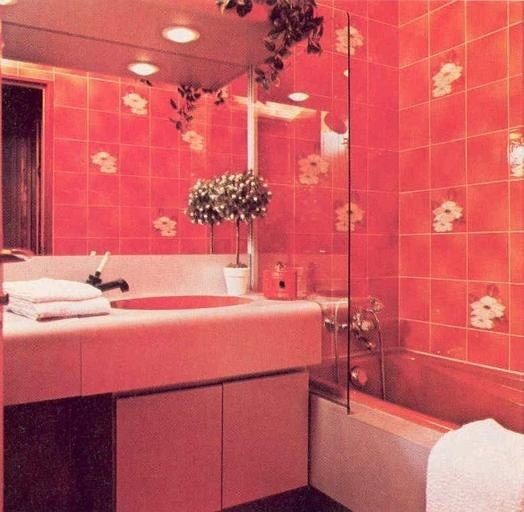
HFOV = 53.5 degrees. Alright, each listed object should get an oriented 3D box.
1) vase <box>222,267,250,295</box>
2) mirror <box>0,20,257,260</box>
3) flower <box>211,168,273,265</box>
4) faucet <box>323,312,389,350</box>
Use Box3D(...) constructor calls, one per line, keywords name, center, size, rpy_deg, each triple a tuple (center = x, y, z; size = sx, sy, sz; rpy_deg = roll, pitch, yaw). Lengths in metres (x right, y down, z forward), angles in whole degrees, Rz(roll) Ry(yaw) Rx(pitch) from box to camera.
Box3D(name="vase", center=(-0.108, 0.106, 2.161), size=(0.097, 0.127, 0.105), rpy_deg=(2, -2, -14))
Box3D(name="mirror", center=(-0.551, -0.460, 2.026), size=(0.806, 0.670, 0.009), rpy_deg=(1, 1, -32))
Box3D(name="flower", center=(-0.108, -0.169, 2.358), size=(0.239, 0.447, 0.234), rpy_deg=(7, 12, 28))
Box3D(name="faucet", center=(0.366, 0.268, 1.880), size=(0.127, 0.067, 0.173), rpy_deg=(0, 3, -42))
